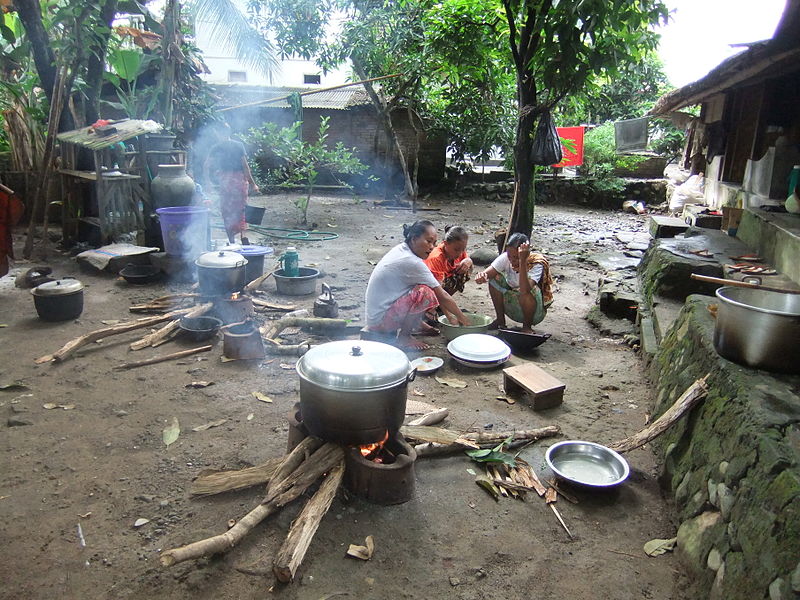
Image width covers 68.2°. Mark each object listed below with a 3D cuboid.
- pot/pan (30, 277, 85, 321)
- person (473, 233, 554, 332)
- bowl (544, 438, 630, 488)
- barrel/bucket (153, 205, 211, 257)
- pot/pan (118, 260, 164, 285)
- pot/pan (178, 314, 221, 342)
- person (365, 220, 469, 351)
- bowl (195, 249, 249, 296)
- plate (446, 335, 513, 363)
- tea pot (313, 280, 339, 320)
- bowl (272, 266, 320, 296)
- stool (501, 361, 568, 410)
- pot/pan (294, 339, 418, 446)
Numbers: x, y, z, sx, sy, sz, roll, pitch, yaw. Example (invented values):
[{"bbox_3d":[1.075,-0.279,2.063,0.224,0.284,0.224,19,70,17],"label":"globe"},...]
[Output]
[{"bbox_3d":[-3.884,0.004,6.747,0.608,0.390,0.534,3,17,12],"label":"pot/pan"},{"bbox_3d":[1.277,-0.201,6.534,0.615,1.094,0.642,10,18,36],"label":"person"},{"bbox_3d":[1.410,1.239,4.442,0.582,0.202,0.495,7,15,28],"label":"bowl"},{"bbox_3d":[-2.990,-0.896,8.391,0.827,0.647,0.780,-1,2,0],"label":"barrel/bucket"},{"bbox_3d":[-3.552,-0.382,8.149,0.533,0.241,0.658,-6,14,-22],"label":"pot/pan"},{"bbox_3d":[-2.149,0.299,6.299,0.357,0.143,0.285,8,19,20],"label":"pot/pan"},{"bbox_3d":[0.115,-0.149,6.127,0.910,1.335,0.537,-8,16,-27],"label":"person"},{"bbox_3d":[-2.027,-0.345,6.873,0.520,0.469,0.517,3,10,0],"label":"bowl"},{"bbox_3d":[0.794,0.487,5.888,0.354,0.086,0.353,10,20,27],"label":"plate"},{"bbox_3d":[-0.843,0.036,6.731,0.283,0.394,0.430,-3,14,-7],"label":"tea pot"},{"bbox_3d":[-1.355,-0.245,7.832,0.585,0.319,0.484,-6,15,-20],"label":"bowl"},{"bbox_3d":[1.256,0.796,5.428,0.457,0.292,0.483,-7,15,-25],"label":"stool"},{"bbox_3d":[-0.333,0.631,4.373,0.951,0.594,0.809,7,20,12],"label":"pot/pan"}]
